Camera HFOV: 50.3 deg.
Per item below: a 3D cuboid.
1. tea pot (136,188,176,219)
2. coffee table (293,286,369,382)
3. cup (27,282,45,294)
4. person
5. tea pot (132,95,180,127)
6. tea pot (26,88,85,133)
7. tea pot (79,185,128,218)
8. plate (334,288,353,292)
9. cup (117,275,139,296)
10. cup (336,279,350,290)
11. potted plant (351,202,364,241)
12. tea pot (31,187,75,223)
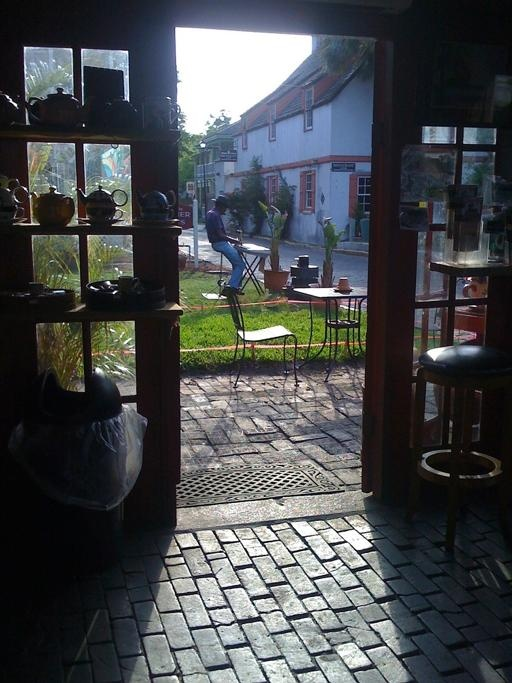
[{"bbox_3d":[-0.429,-0.592,2.375,0.157,0.151,0.244,0,6,-8],"label":"tea pot"},{"bbox_3d":[0.890,-0.070,6.505,0.629,0.780,1.178,0,13,-7],"label":"coffee table"},{"bbox_3d":[-0.885,-0.213,2.204,0.053,0.050,0.066,-2,6,-20],"label":"cup"},{"bbox_3d":[-0.590,-1.829,9.999,0.781,1.724,0.609,3,7,26],"label":"person"},{"bbox_3d":[-0.394,-0.917,2.217,0.189,0.132,0.123,0,11,-3],"label":"tea pot"},{"bbox_3d":[-0.770,-0.879,2.095,0.202,0.154,0.152,-5,27,-25],"label":"tea pot"},{"bbox_3d":[-0.657,-0.599,2.340,0.212,0.165,0.235,-1,6,-14],"label":"tea pot"},{"bbox_3d":[0.918,-0.539,5.753,0.191,0.054,0.299,1,6,9],"label":"plate"},{"bbox_3d":[-0.532,-0.240,2.289,0.065,0.073,0.103,-1,0,18],"label":"cup"},{"bbox_3d":[0.942,-0.605,5.830,0.152,0.097,0.154,0,6,0],"label":"cup"},{"bbox_3d":[3.900,-4.595,20.870,0.447,1.385,1.177,1,6,9],"label":"potted plant"},{"bbox_3d":[-0.801,-0.520,2.198,0.188,0.143,0.135,7,9,34],"label":"tea pot"}]
